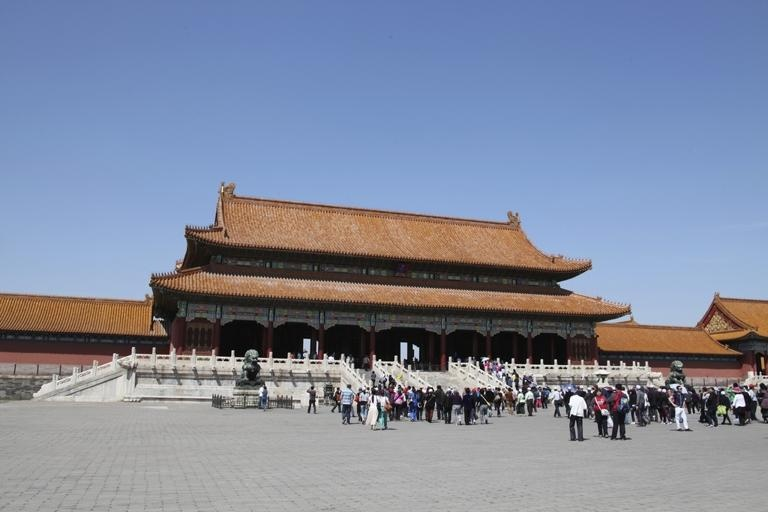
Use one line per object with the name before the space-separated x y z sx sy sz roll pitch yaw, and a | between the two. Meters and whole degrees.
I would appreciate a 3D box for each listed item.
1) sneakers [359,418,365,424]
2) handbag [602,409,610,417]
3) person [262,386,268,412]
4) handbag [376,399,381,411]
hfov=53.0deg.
sneakers | -0.974 7.718 35.928 0.263 0.170 0.250 5 -10 -30
handbag | 8.761 6.213 30.460 0.252 0.135 0.351 3 -3 0
person | -6.473 7.721 41.765 0.298 1.167 0.603 -3 -16 8
handbag | -0.180 6.346 32.852 0.223 0.457 0.288 0 -16 -1
